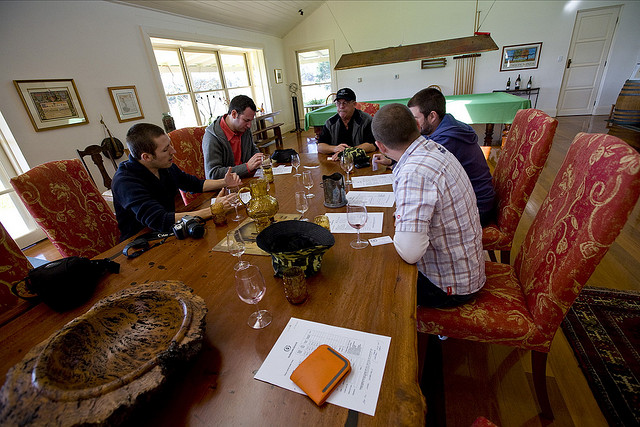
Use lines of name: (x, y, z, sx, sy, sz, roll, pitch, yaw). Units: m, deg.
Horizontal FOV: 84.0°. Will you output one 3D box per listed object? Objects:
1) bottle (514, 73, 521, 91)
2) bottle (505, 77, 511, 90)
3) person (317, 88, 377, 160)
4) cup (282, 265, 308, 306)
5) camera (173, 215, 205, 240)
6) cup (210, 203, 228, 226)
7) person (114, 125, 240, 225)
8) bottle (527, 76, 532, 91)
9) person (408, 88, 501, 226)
bottle: (4.090, -2.715, 7.343, 0.123, 0.296, 0.115, -5, 24, 2)
bottle: (3.913, -2.675, 7.394, 0.082, 0.205, 0.167, 6, 26, 25)
person: (0.283, -0.779, 3.795, 0.638, 0.985, 0.534, -1, 21, 3)
cup: (-0.120, 0.357, 1.828, 0.114, 0.169, 0.113, -3, 19, 1)
camera: (-0.829, 0.094, 2.268, 0.192, 0.122, 0.176, -19, 30, -25)
cup: (-0.670, 0.011, 2.352, 0.102, 0.160, 0.111, -6, 15, 2)
person: (-1.086, -0.255, 2.700, 0.981, 0.734, 0.726, -7, 26, -11)
bottle: (4.276, -2.631, 7.257, 0.090, 0.261, 0.274, 12, 29, 35)
person: (1.015, -0.344, 3.068, 0.718, 1.398, 0.563, 15, 35, 33)
